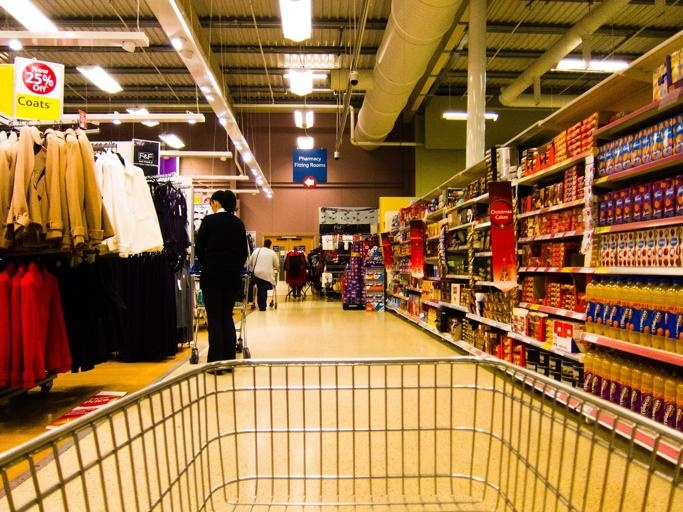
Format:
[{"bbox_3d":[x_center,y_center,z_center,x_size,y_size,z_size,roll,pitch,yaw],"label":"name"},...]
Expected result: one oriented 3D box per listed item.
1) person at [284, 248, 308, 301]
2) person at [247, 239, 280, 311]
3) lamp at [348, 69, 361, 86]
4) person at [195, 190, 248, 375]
[{"bbox_3d":[-1.238,0.410,13.993,0.575,1.464,0.481,0,25,-1],"label":"person"},{"bbox_3d":[-1.710,0.428,11.132,0.632,1.561,1.596,0,0,-8],"label":"person"},{"bbox_3d":[0.217,-3.134,8.930,0.155,0.295,0.517,0,1,-3],"label":"lamp"},{"bbox_3d":[-1.267,0.247,5.330,0.528,1.886,0.501,-3,-5,35],"label":"person"}]
